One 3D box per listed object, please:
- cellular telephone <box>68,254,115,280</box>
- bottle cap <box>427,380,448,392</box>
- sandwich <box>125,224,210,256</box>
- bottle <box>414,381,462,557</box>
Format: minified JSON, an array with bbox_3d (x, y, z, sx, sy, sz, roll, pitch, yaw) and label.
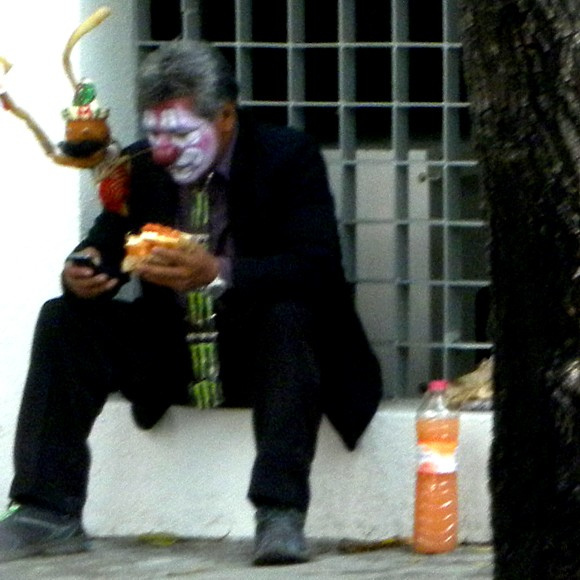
[{"bbox_3d":[-0.563,-0.071,2.757,0.073,0.106,0.035,-53,-9,-31],"label":"cellular telephone"},{"bbox_3d":[0.425,0.275,2.811,0.054,0.022,0.049,-2,3,-30],"label":"bottle cap"},{"bbox_3d":[-0.345,-0.142,2.693,0.198,0.038,0.094,4,25,0],"label":"sandwich"},{"bbox_3d":[0.421,0.492,2.778,0.140,0.455,0.289,-2,7,10],"label":"bottle"}]
